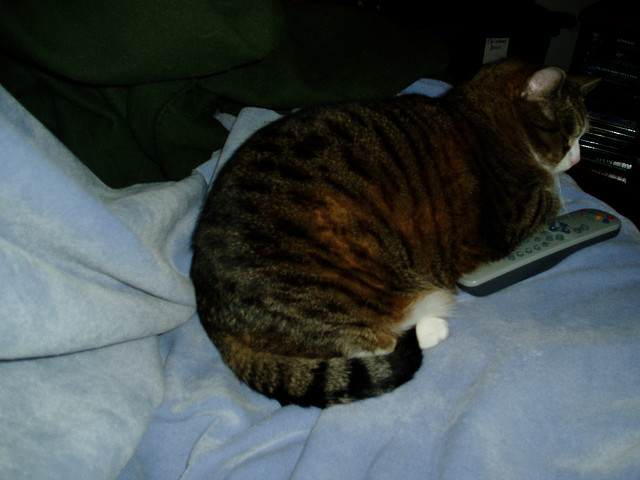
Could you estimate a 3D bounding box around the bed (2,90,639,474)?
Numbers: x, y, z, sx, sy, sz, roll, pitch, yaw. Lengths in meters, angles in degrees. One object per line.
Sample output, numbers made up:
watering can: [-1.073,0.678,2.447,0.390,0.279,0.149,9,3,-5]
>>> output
bed: [-0.010,0.191,1.272,1.039,0.294,0.957,-14,65,-26]

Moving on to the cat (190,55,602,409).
cat: [0.319,0.016,1.762,1.186,0.465,0.644,-21,55,-8]
